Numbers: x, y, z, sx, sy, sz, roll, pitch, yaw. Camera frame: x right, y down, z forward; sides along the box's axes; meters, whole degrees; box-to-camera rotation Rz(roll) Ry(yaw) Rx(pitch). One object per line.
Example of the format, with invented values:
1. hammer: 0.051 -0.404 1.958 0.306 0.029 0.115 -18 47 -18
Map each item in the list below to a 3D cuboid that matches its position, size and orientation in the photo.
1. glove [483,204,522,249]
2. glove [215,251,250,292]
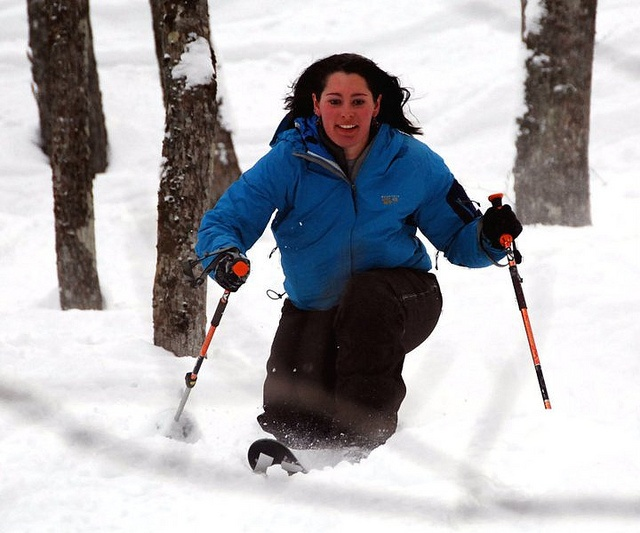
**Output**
1. glove: 1.213 -0.285 5.990 0.233 0.300 0.313 33 2 -3
2. glove: -0.576 0.023 5.544 0.210 0.273 0.262 -1 1 -34
